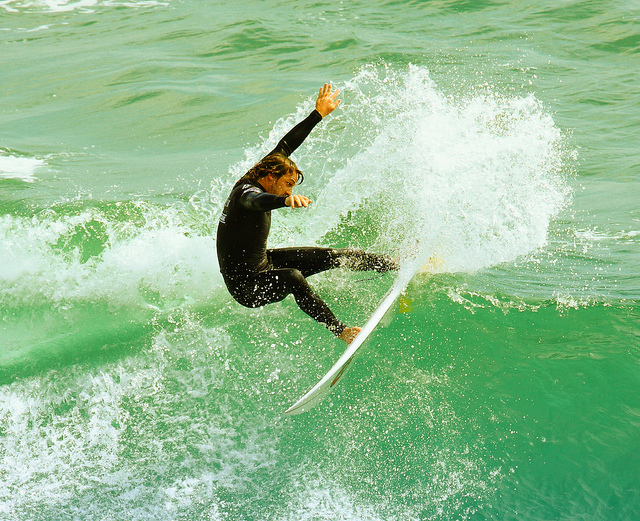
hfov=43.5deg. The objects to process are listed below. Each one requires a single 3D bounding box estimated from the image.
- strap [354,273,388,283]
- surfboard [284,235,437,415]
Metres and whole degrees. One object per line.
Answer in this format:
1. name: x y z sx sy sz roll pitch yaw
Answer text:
1. strap: 0.678 0.223 10.716 0.696 0.081 0.030 -6 71 31
2. surfboard: 0.501 0.882 9.947 0.313 0.245 2.798 49 58 -14
